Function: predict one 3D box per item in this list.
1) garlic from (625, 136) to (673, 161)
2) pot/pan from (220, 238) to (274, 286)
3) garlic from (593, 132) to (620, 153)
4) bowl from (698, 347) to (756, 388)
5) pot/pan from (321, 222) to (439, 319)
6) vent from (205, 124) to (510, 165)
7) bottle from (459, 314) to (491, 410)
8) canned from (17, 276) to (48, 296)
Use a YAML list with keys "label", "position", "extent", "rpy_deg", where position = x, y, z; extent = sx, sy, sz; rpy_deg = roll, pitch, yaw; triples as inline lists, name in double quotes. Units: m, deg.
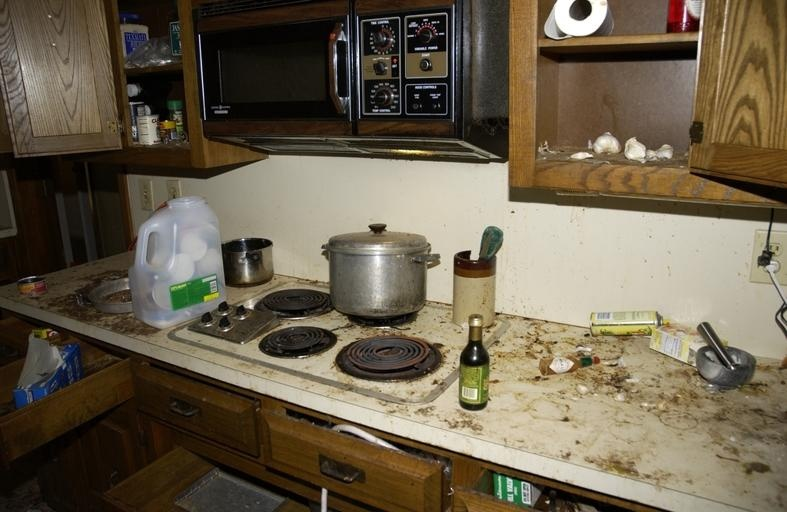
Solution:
- label: "garlic"
  position: [0.781, -0.319, 1.706]
  extent: [0.124, 0.053, 0.091]
  rpy_deg: [7, 22, 18]
- label: "pot/pan"
  position: [-0.632, 0.015, 2.490]
  extent: [0.249, 0.151, 0.183]
  rpy_deg: [-9, 14, -19]
- label: "garlic"
  position: [0.678, -0.355, 1.767]
  extent: [0.077, 0.064, 0.075]
  rpy_deg: [9, 28, 25]
- label: "bowl"
  position: [1.041, 0.359, 1.750]
  extent: [0.142, 0.080, 0.142]
  rpy_deg: [-10, 5, 1]
- label: "pot/pan"
  position: [-0.036, 0.040, 2.098]
  extent: [0.465, 0.291, 0.349]
  rpy_deg: [5, 15, 24]
- label: "vent"
  position: [-0.150, -0.424, 2.085]
  extent: [1.120, 0.159, 0.383]
  rpy_deg: [7, 18, 24]
- label: "bottle"
  position: [0.244, 0.299, 1.662]
  extent: [0.095, 0.318, 0.172]
  rpy_deg: [3, 17, 9]
- label: "canned"
  position: [-1.571, 0.122, 2.406]
  extent: [0.097, 0.059, 0.095]
  rpy_deg: [-5, 12, -29]
